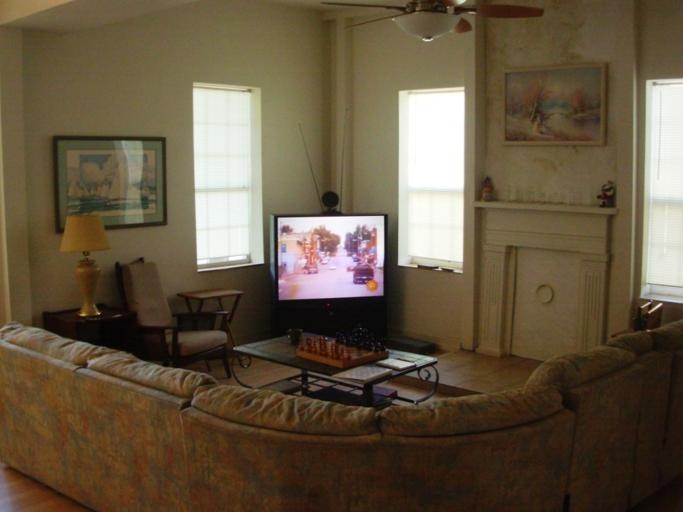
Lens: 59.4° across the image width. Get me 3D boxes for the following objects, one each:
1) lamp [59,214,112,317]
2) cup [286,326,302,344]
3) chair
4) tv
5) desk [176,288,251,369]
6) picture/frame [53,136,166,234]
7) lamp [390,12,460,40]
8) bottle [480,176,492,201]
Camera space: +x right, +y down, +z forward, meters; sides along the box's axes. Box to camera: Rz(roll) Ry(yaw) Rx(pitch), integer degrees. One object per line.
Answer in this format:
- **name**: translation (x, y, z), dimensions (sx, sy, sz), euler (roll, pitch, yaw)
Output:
- **lamp**: translation (-2.434, 0.070, 5.685), dimensions (0.406, 0.940, 0.492), euler (2, 7, -23)
- **cup**: translation (-0.428, 0.746, 5.567), dimensions (0.095, 0.135, 0.147), euler (0, 0, 31)
- **chair**: translation (-1.720, 0.664, 6.124), dimensions (0.993, 1.133, 0.936), euler (4, 6, 10)
- **tv**: translation (-0.180, 0.022, 6.962), dimensions (1.066, 0.772, 0.139), euler (-1, 1, -6)
- **desk**: translation (-1.436, 0.731, 6.850), dimensions (0.816, 1.121, 0.873), euler (2, -1, -42)
- **picture/frame**: translation (-2.376, -0.731, 6.019), dimensions (0.994, 0.829, 0.066), euler (-9, 15, -41)
- **lamp**: translation (0.628, -1.669, 4.317), dimensions (0.450, 0.162, 0.225), euler (3, 7, -14)
- **bottle**: translation (1.635, -0.758, 6.725), dimensions (0.151, 0.284, 0.141), euler (5, 6, -1)
